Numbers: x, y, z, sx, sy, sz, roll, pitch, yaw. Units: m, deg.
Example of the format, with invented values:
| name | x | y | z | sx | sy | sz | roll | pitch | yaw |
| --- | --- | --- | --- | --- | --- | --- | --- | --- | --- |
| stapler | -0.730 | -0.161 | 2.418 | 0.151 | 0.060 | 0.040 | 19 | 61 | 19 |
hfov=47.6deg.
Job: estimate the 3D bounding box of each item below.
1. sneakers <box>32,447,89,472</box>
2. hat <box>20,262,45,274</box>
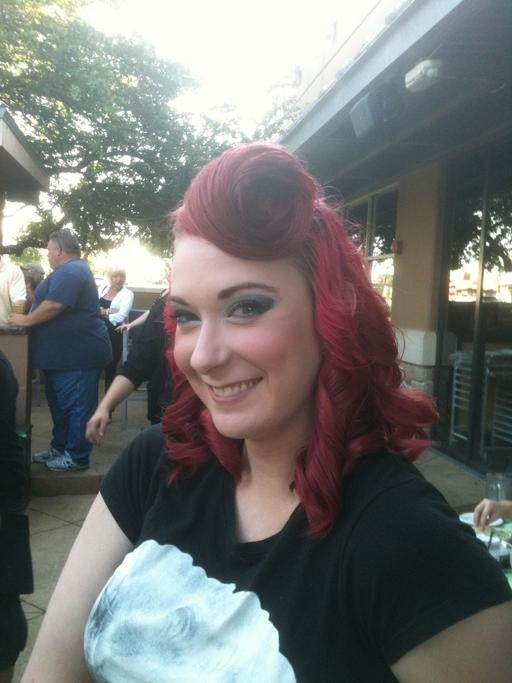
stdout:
| name | x | y | z | sx | sy | sz | roll | pitch | yaw |
| --- | --- | --- | --- | --- | --- | --- | --- | --- | --- |
| sneakers | -1.383 | 0.848 | 4.135 | 0.447 | 0.192 | 0.164 | 2 | 8 | 2 |
| hat | -2.795 | -0.916 | 7.255 | 0.270 | 0.083 | 0.268 | 6 | 5 | 27 |
